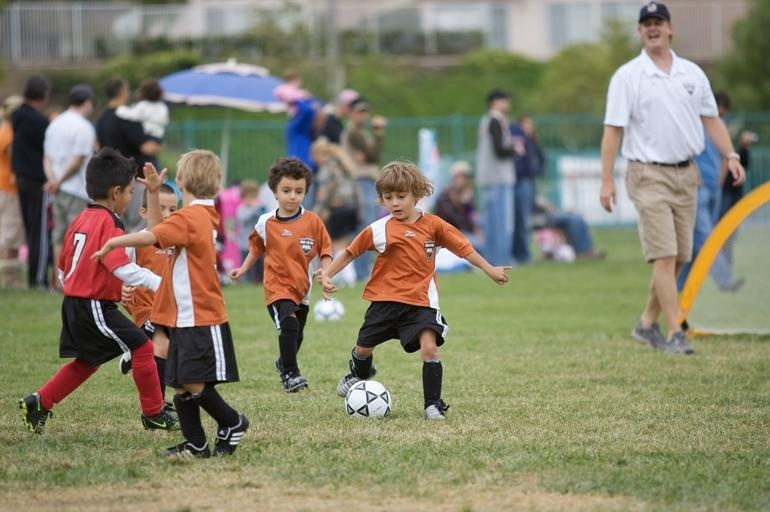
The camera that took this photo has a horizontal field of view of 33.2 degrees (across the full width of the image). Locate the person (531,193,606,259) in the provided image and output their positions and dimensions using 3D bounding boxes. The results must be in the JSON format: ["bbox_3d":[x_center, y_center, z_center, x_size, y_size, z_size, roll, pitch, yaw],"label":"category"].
[{"bbox_3d":[2.400,-0.505,19.078,1.495,0.860,0.428,5,13,42],"label":"person"}]

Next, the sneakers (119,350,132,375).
[{"bbox_3d":[-2.206,0.928,11.103,0.144,0.193,0.431,4,-1,-10],"label":"sneakers"}]

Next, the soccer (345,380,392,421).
[{"bbox_3d":[-0.133,1.197,10.704,0.294,0.306,0.297,0,-21,12],"label":"soccer"}]

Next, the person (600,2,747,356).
[{"bbox_3d":[2.882,-0.783,13.056,0.973,3.528,1.396,1,2,22],"label":"person"}]

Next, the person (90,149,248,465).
[{"bbox_3d":[-1.509,0.368,10.181,0.931,2.354,0.597,2,5,22],"label":"person"}]

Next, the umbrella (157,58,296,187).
[{"bbox_3d":[-1.831,-1.629,15.280,1.182,1.176,1.069,2,6,-34],"label":"umbrella"}]

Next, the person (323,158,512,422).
[{"bbox_3d":[0.179,0.268,10.877,1.251,2.098,0.571,2,5,18],"label":"person"}]

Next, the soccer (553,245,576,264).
[{"bbox_3d":[2.591,0.009,18.625,0.249,0.305,0.264,6,-40,2],"label":"soccer"}]

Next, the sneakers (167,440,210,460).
[{"bbox_3d":[-1.507,1.523,10.100,0.352,0.146,0.129,7,-8,-5],"label":"sneakers"}]

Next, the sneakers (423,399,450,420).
[{"bbox_3d":[0.464,1.270,10.663,0.251,0.141,0.195,-2,5,-25],"label":"sneakers"}]

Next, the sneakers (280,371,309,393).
[{"bbox_3d":[-0.771,1.113,11.224,0.108,0.133,0.254,-4,1,-42],"label":"sneakers"}]

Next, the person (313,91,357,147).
[{"bbox_3d":[-0.576,-1.665,15.950,0.492,0.594,1.266,0,5,-5],"label":"person"}]

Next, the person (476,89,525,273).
[{"bbox_3d":[1.575,-1.048,17.492,0.674,2.412,0.784,-1,4,15],"label":"person"}]

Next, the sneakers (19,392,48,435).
[{"bbox_3d":[-2.777,1.289,10.411,0.137,0.316,0.102,-29,-7,31],"label":"sneakers"}]
